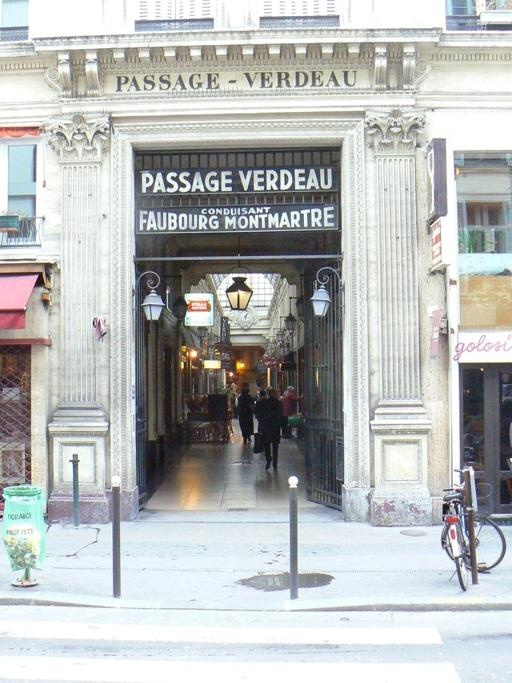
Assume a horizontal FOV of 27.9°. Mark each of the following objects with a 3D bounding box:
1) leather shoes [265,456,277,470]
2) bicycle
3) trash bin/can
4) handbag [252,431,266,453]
[{"bbox_3d":[0.319,2.410,20.291,0.222,0.318,0.172,2,-2,32],"label":"leather shoes"},{"bbox_3d":[2.287,2.038,10.952,0.534,0.889,1.250,0,-15,-5],"label":"bicycle"},{"bbox_3d":[-2.371,1.985,10.483,0.401,0.994,0.325,0,-4,-16],"label":"trash bin/can"},{"bbox_3d":[0.056,1.978,20.320,0.186,0.384,0.464,-1,-5,-3],"label":"handbag"}]
